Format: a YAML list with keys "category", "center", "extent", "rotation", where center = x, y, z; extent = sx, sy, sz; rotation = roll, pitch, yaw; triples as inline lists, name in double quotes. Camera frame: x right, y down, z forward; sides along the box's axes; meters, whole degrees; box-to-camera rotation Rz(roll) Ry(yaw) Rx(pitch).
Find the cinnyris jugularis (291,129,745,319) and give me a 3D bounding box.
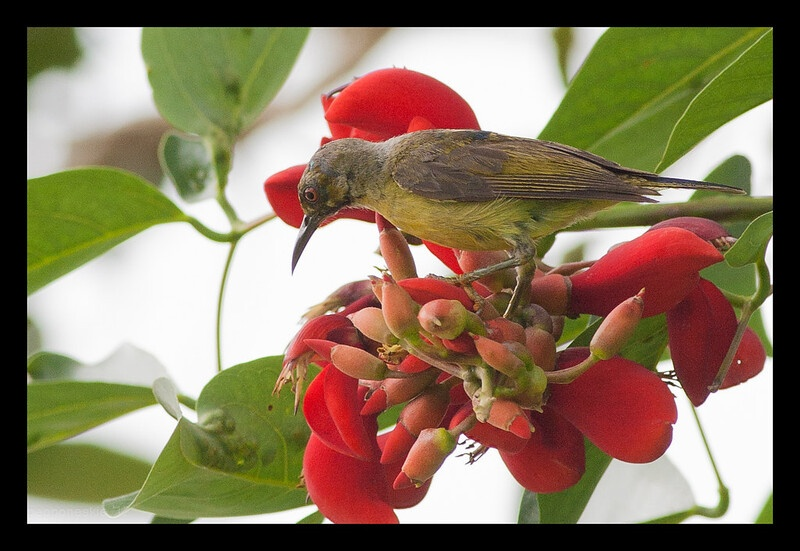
- category: "cinnyris jugularis"
  center: [0.301, -0.160, 2.075]
  extent: [1.171, 0.375, 0.302]
  rotation: [-5, -8, -5]
